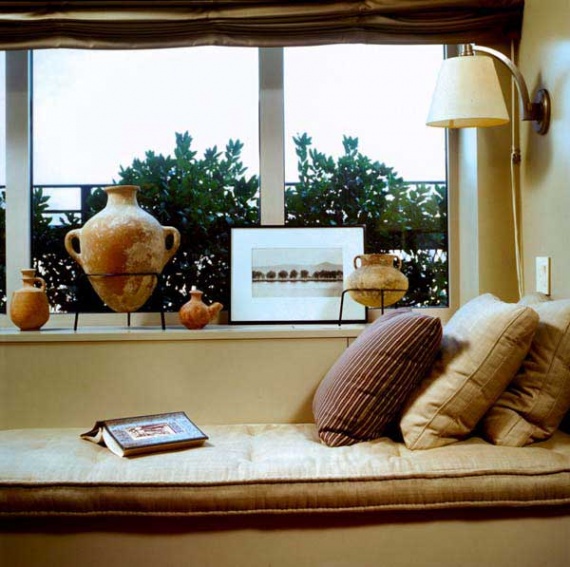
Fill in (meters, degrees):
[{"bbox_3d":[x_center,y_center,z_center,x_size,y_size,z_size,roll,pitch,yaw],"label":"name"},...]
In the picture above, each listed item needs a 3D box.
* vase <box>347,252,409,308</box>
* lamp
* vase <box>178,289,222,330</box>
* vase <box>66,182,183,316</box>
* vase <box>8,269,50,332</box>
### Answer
[{"bbox_3d":[0.382,-0.006,2.752,0.204,0.212,0.232,0,2,6],"label":"vase"},{"bbox_3d":[0.773,-0.700,2.633,0.410,0.386,0.305,-1,1,-13],"label":"lamp"},{"bbox_3d":[-0.352,0.113,2.833,0.114,0.160,0.153,3,7,43],"label":"vase"},{"bbox_3d":[-0.694,-0.131,2.766,0.401,0.525,0.216,-3,5,-13],"label":"vase"},{"bbox_3d":[-1.055,0.070,2.821,0.143,0.251,0.176,3,7,42],"label":"vase"}]
